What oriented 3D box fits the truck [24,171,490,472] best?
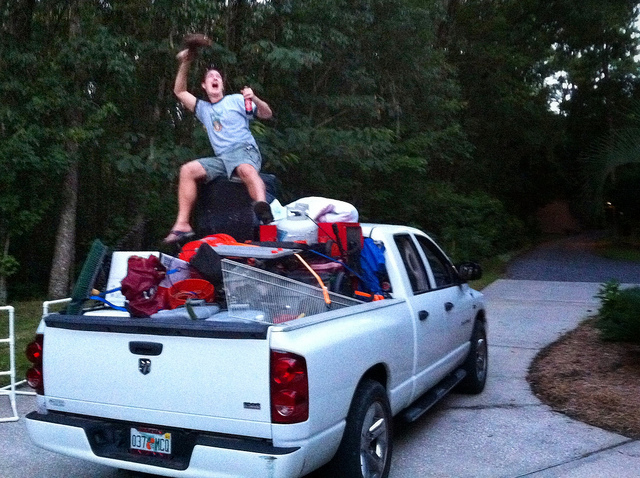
[{"bbox_3d":[0.141,0.693,4.919,2.358,1.535,4.273,-1,2,33],"label":"truck"}]

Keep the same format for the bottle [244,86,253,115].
[{"bbox_3d":[-0.908,-1.694,6.630,0.101,0.182,0.137,-1,3,-8],"label":"bottle"}]
